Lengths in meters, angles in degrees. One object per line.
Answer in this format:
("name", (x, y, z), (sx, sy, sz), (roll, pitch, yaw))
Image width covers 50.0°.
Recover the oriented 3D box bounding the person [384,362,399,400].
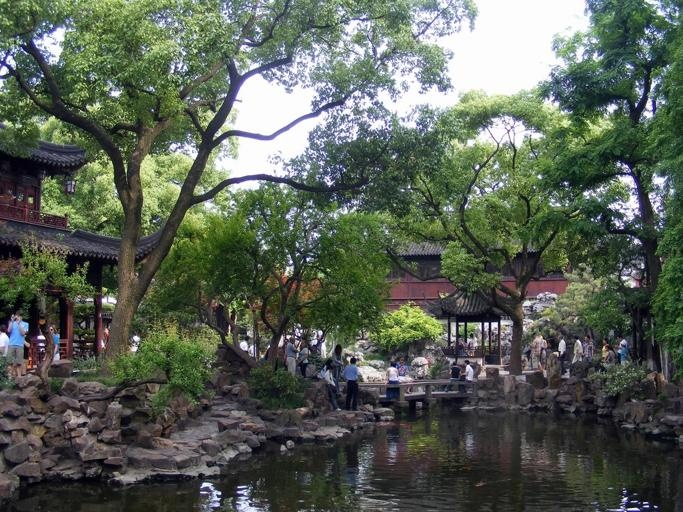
("person", (2.352, 5.743, 33.778), (0.579, 1.768, 0.966), (1, -15, 2))
